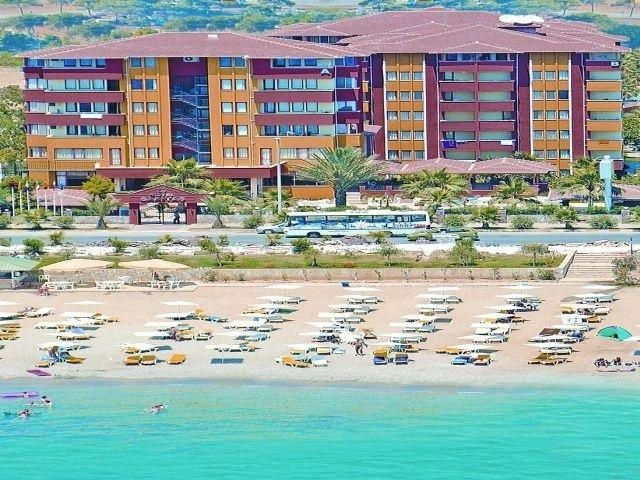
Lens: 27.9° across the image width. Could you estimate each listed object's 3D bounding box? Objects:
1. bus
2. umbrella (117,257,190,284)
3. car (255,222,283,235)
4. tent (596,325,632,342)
[{"bbox_3d":[3.592,-1.571,133.100,13.774,2.627,2.098,0,5,10],"label":"bus"},{"bbox_3d":[-14.636,2.736,114.122,6.810,1.969,3.535,0,4,15],"label":"umbrella"},{"bbox_3d":[-5.111,-1.216,135.199,2.857,1.113,3.251,-2,4,-6],"label":"car"},{"bbox_3d":[21.021,6.710,92.043,2.381,0.988,1.085,0,5,17],"label":"tent"}]
